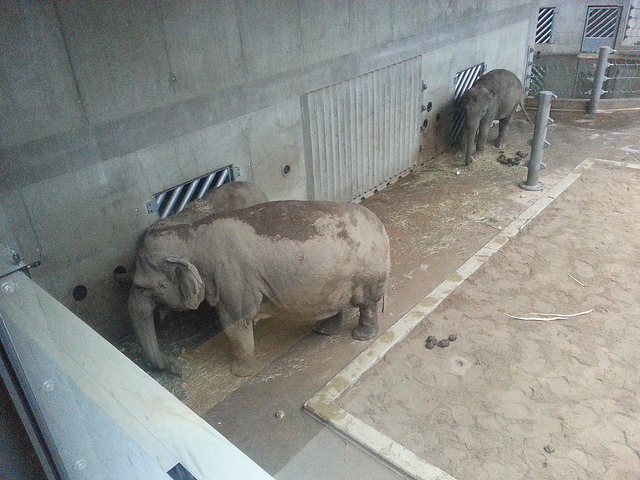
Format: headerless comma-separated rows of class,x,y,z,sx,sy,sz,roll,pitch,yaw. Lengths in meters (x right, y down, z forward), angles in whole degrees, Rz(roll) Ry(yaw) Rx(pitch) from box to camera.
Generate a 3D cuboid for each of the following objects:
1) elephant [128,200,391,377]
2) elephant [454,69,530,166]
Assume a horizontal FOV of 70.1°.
elephant,-0.499,0.142,4.065,2.136,1.559,1.164,-6,41,-4
elephant,3.025,-2.219,8.084,0.630,1.303,2.115,19,33,38
